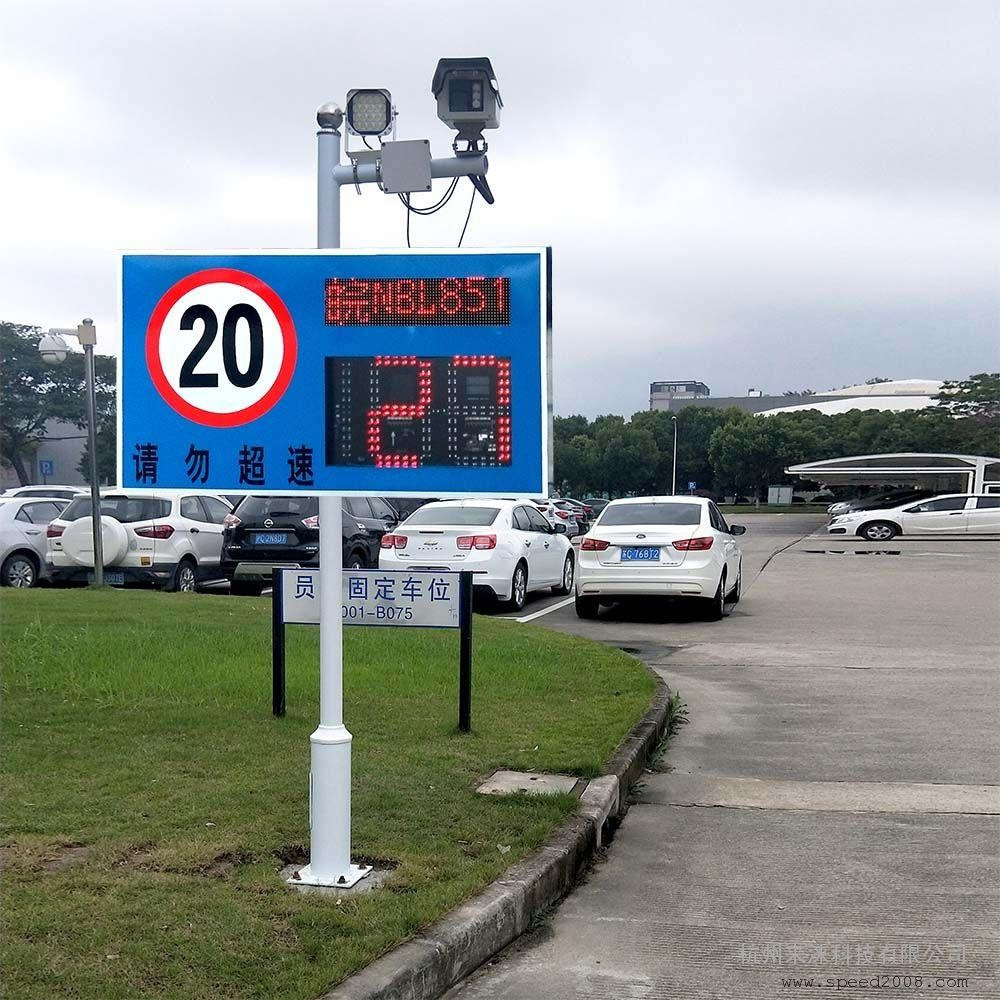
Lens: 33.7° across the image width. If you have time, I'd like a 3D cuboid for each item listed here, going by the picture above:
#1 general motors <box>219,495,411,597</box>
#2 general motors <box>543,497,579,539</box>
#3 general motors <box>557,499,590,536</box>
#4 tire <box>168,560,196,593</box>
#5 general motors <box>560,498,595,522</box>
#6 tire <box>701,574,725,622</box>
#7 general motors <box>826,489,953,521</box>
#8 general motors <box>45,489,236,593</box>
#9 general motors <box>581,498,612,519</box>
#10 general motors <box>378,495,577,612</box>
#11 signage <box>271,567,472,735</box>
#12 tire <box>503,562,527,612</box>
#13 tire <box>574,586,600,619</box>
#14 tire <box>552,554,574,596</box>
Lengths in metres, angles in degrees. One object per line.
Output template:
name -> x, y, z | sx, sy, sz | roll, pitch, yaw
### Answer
general motors -> -2.026, 0.387, 18.567 | 1.046, 1.062, 2.511 | -1, 3, 20
general motors -> 1.355, 0.395, 36.077 | 0.554, 0.508, 1.244 | 2, 6, 11
general motors -> 1.722, 0.443, 38.849 | 0.827, 0.740, 1.865 | 0, 1, 3
tire -> -3.464, 0.834, 17.909 | 0.093, 0.335, 0.309 | -1, 5, 15
general motors -> 2.373, 0.278, 48.094 | 0.497, 0.427, 1.171 | 6, 6, -5
tire -> 2.094, 0.957, 16.191 | 0.138, 0.493, 0.453 | -1, -1, 25
general motors -> 10.490, 0.142, 44.230 | 3.041, 1.198, 1.484 | -2, 1, 4
general motors -> -3.935, 0.471, 17.993 | 1.827, 1.116, 1.311 | 2, 6, -13
general motors -> 3.001, 0.230, 52.398 | 0.742, 0.635, 1.765 | 0, 6, 3
general motors -> -0.111, 0.575, 17.034 | 0.896, 0.739, 2.082 | -1, 0, 23
signage -> -0.748, 0.906, 9.605 | 0.856, 0.750, 0.062 | 1, 2, 8
tire -> 0.155, 0.884, 16.911 | 0.142, 0.495, 0.459 | -2, -7, 19
tire -> 0.879, 1.034, 16.525 | 0.084, 0.297, 0.276 | -4, -13, 21
tire -> 0.717, 0.870, 19.083 | 0.148, 0.506, 0.459 | -11, -8, 39
